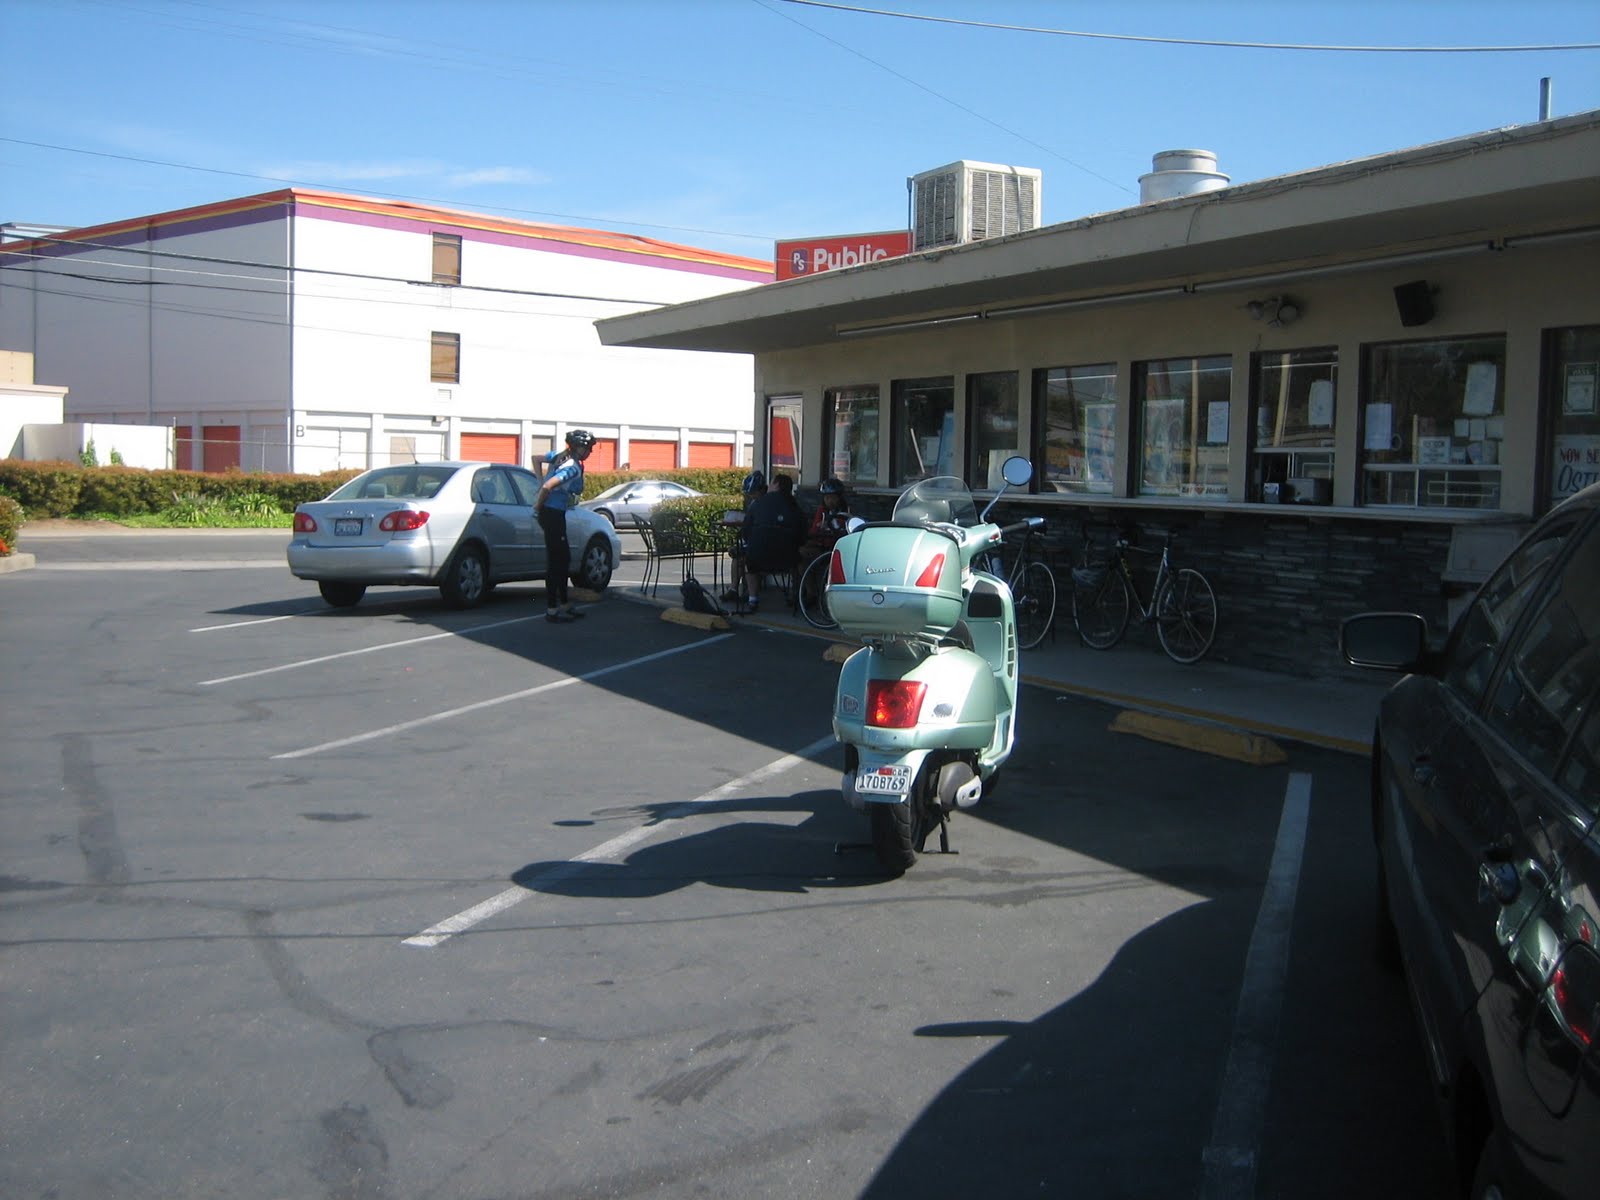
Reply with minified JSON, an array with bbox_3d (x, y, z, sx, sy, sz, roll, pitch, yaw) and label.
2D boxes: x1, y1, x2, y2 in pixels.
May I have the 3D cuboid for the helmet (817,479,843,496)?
[{"bbox_3d":[0.334,-1.256,15.114,0.171,0.231,0.228,24,21,31],"label":"helmet"}]

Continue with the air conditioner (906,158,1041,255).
[{"bbox_3d":[2.611,-5.942,20.035,1.865,1.155,1.272,1,7,6],"label":"air conditioner"}]

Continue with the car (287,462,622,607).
[{"bbox_3d":[-4.095,-0.758,16.306,1.675,1.418,3.940,1,5,28],"label":"car"}]

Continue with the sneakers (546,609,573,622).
[{"bbox_3d":[-2.665,0.187,14.520,0.246,0.120,0.114,3,4,3],"label":"sneakers"}]

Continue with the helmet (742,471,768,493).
[{"bbox_3d":[-0.574,-1.416,16.187,0.214,0.295,0.429,2,11,7],"label":"helmet"}]

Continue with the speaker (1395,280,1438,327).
[{"bbox_3d":[5.029,-2.443,10.906,0.264,0.356,0.380,6,20,24],"label":"speaker"}]

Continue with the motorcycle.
[{"bbox_3d":[0.672,0.332,6.943,0.897,2.037,1.596,2,7,11],"label":"motorcycle"}]

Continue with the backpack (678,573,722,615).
[{"bbox_3d":[-1.113,-0.042,14.899,0.425,0.363,0.800,-1,8,-12],"label":"backpack"}]
